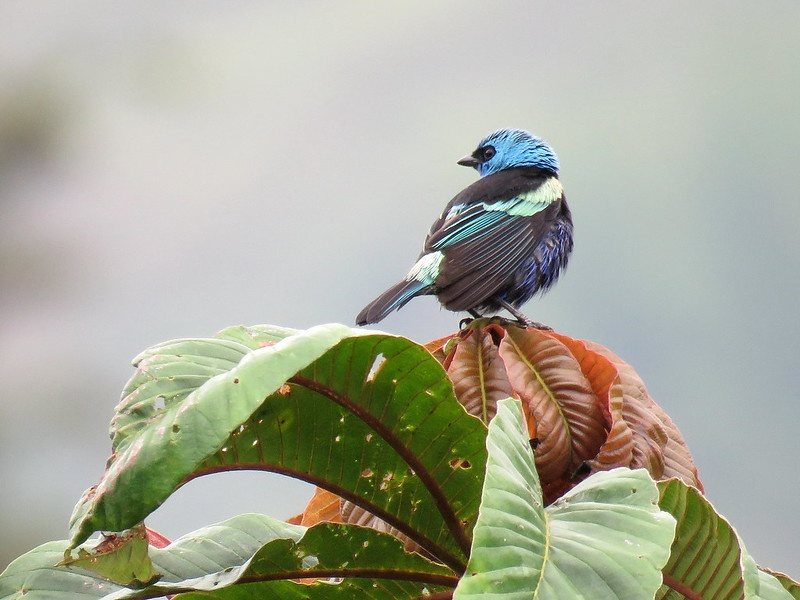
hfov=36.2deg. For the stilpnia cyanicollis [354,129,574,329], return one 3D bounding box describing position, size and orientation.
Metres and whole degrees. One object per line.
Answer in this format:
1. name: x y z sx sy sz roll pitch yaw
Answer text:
1. stilpnia cyanicollis: 0.236 -0.292 4.881 0.930 0.776 0.552 -6 3 -24
